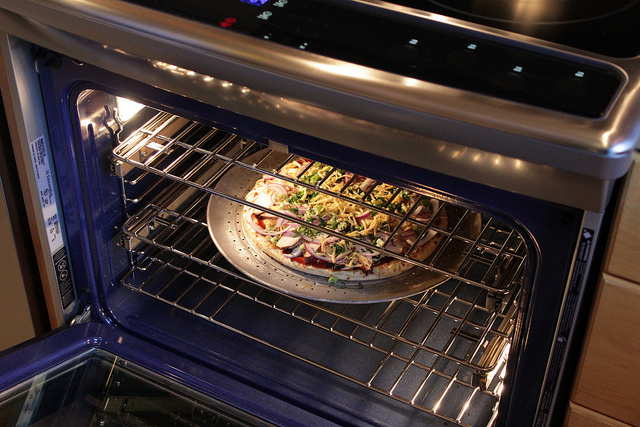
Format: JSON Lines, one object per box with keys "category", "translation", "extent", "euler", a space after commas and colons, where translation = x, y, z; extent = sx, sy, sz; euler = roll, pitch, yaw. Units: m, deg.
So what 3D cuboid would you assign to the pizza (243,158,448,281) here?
{"category": "pizza", "translation": [0.034, 0.037, 1.249], "extent": [0.347, 0.343, 0.039], "euler": [19, -49, 20]}
